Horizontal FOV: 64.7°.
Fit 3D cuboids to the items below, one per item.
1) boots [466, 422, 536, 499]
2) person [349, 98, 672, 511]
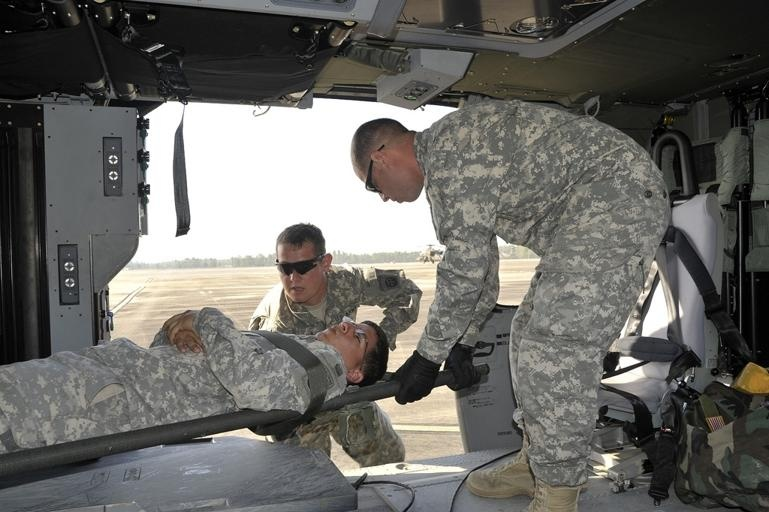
[{"bbox_3d":[0.629,1.316,3.790,0.591,0.367,0.240,2,-7,11],"label":"boots"},{"bbox_3d":[0.697,0.246,3.368,1.494,2.166,0.756,5,14,21],"label":"person"}]
